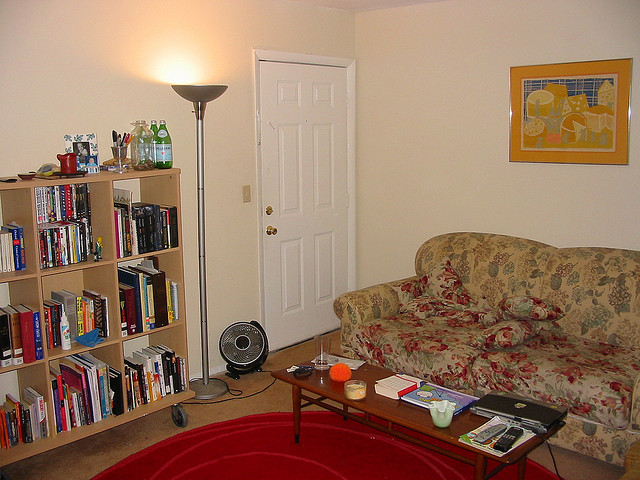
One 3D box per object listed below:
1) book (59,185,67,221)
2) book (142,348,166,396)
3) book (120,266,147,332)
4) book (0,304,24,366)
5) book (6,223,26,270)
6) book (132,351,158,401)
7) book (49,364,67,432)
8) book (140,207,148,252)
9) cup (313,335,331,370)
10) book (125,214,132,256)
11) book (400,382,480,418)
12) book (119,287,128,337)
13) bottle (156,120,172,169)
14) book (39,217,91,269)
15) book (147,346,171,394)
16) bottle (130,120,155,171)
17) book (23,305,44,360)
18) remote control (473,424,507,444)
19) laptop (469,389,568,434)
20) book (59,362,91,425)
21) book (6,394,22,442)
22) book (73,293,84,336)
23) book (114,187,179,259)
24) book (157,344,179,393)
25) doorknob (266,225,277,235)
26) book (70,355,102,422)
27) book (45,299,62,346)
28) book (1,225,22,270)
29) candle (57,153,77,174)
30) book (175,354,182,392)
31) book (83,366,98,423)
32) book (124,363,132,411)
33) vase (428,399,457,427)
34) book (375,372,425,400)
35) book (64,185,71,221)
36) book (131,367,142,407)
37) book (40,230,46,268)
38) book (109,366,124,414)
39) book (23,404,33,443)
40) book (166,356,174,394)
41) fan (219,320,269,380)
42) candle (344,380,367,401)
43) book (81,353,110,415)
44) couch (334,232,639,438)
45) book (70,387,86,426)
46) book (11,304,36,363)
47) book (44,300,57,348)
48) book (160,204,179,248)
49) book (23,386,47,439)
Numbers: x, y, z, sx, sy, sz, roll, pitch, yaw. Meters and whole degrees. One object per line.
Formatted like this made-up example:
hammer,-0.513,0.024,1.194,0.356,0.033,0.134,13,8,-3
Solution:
book,-1.511,-0.217,3.006,0.013,0.205,0.041,6,15,28
book,-1.084,0.880,3.342,0.050,0.344,0.265,-9,10,-34
book,-1.173,0.389,3.218,0.188,0.317,0.330,-7,11,-27
book,-1.699,0.542,2.822,0.109,0.301,0.286,-5,5,-31
book,-1.708,0.040,2.873,0.137,0.224,0.238,-3,8,-32
book,-1.131,0.896,3.307,0.038,0.253,0.269,-11,15,-26
book,-1.537,0.948,2.999,0.059,0.363,0.321,-12,15,-30
book,-1.108,-0.064,3.215,0.033,0.278,0.039,-6,14,-18
cup,0.006,0.662,3.107,0.103,0.227,0.181,-1,13,-1
book,-1.183,-0.032,3.159,0.028,0.256,0.032,-6,14,-17
book,0.635,0.841,2.724,0.332,0.053,0.271,9,17,38
book,-1.219,0.455,3.179,0.041,0.287,0.086,-5,14,-16
bottle,-1.009,-0.616,3.280,0.095,0.297,0.164,-5,14,-17
book,-1.483,0.027,2.981,0.037,0.235,0.288,12,18,43
book,-1.058,0.872,3.362,0.047,0.325,0.252,-11,14,-40
bottle,-1.135,-0.610,3.265,0.151,0.302,0.228,-6,14,-18
book,-1.608,0.524,2.864,0.040,0.357,0.263,-11,16,-42
remote control,0.778,0.895,2.370,0.059,0.038,0.195,13,18,43
laptop,0.990,0.856,2.577,0.408,0.063,0.267,9,16,36
book,-1.464,0.940,3.066,0.046,0.318,0.323,-12,13,-34
book,-1.740,1.028,2.906,0.126,0.205,0.218,1,-6,-36
book,-1.461,0.459,3.088,0.045,0.280,0.206,-5,11,-33
book,-1.044,-0.115,3.321,0.417,0.391,0.299,-4,-1,12
book,-1.012,0.871,3.393,0.051,0.357,0.274,-9,13,-35
doorknob,-0.415,-0.089,4.335,0.093,0.084,0.036,-5,14,-17
book,-1.418,0.920,3.099,0.069,0.399,0.372,-20,5,-39
book,-1.552,0.492,2.973,0.034,0.236,0.206,-9,17,-35
book,-1.723,0.050,2.858,0.062,0.191,0.182,-3,23,-24
candle,-1.438,-0.452,2.930,0.129,0.124,0.086,4,6,3
book,-0.949,0.904,3.433,0.043,0.185,0.180,-7,0,-11
book,-1.384,0.948,3.110,0.062,0.256,0.241,-11,8,-32
book,-1.221,0.943,3.252,0.028,0.255,0.134,-7,15,-22
vase,0.587,0.843,2.473,0.116,0.088,0.129,0,10,6
book,0.434,0.811,2.844,0.131,0.031,0.133,8,15,44
book,-1.490,-0.225,3.030,0.012,0.209,0.052,8,17,35
book,-1.169,0.947,3.262,0.042,0.243,0.050,-7,15,-21
book,-1.570,0.049,2.900,0.028,0.218,0.011,-12,17,-37
book,-1.259,0.937,3.182,0.210,0.209,0.050,3,4,43
book,-1.662,1.066,2.917,0.038,0.158,0.151,-5,12,-23
book,-0.996,0.902,3.398,0.041,0.176,0.171,-6,4,-16
fan,-0.523,0.826,3.988,0.392,0.433,0.248,0,0,20
candle,0.188,0.808,2.751,0.094,0.056,0.093,0,0,2
book,-1.374,0.902,3.127,0.064,0.384,0.358,-15,13,-37
couch,1.224,0.484,3.547,1.746,0.814,1.066,8,16,34
book,-1.437,1.010,3.075,0.039,0.168,0.162,-6,8,-27
book,-1.727,0.541,2.919,0.274,0.249,0.094,-3,-2,36
book,-1.561,0.494,2.963,0.031,0.277,0.211,-8,15,-34
book,-0.981,-0.098,3.314,0.101,0.260,0.277,-5,4,-35
book,-1.636,1.010,2.947,0.051,0.296,0.263,-11,18,-33
